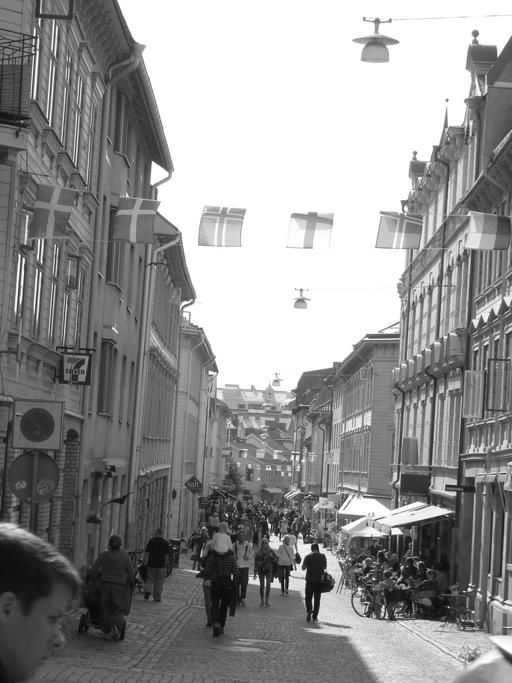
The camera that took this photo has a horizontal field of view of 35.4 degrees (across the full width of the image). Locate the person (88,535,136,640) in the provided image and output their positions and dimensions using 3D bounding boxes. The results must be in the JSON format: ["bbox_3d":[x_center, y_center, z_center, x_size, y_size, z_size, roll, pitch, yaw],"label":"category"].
[{"bbox_3d":[-2.597,4.418,14.394,0.769,1.797,0.924,6,-14,-1],"label":"person"}]

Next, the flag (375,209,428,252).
[{"bbox_3d":[2.935,-2.310,16.445,0.884,0.824,0.371,4,-14,4],"label":"flag"}]

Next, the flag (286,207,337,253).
[{"bbox_3d":[0.993,-2.088,15.394,0.701,0.972,0.762,-4,-17,34],"label":"flag"}]

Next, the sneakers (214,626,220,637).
[{"bbox_3d":[-0.800,5.929,16.429,0.093,0.253,0.169,1,1,-5],"label":"sneakers"}]

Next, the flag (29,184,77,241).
[{"bbox_3d":[-3.508,-2.238,13.782,0.650,1.064,0.413,10,-14,-16],"label":"flag"}]

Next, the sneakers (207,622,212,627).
[{"bbox_3d":[-1.032,6.255,17.709,0.085,0.167,0.086,2,2,-23],"label":"sneakers"}]

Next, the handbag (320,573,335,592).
[{"bbox_3d":[1.879,6.367,21.201,0.312,0.503,0.512,3,-15,10],"label":"handbag"}]
